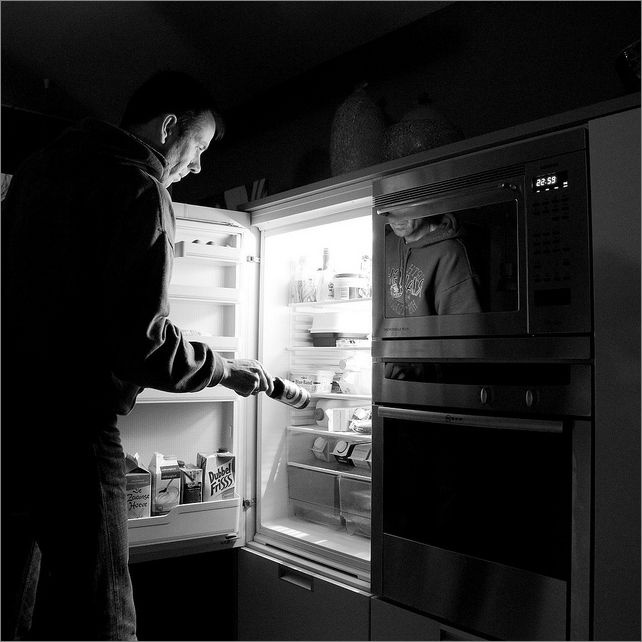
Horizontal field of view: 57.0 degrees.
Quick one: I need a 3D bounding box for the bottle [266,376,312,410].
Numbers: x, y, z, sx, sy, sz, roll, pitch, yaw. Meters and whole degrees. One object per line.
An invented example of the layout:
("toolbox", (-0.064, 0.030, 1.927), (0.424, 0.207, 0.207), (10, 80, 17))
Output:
("bottle", (-0.095, 0.205, 1.747), (0.072, 0.060, 0.134), (20, -8, 41))
